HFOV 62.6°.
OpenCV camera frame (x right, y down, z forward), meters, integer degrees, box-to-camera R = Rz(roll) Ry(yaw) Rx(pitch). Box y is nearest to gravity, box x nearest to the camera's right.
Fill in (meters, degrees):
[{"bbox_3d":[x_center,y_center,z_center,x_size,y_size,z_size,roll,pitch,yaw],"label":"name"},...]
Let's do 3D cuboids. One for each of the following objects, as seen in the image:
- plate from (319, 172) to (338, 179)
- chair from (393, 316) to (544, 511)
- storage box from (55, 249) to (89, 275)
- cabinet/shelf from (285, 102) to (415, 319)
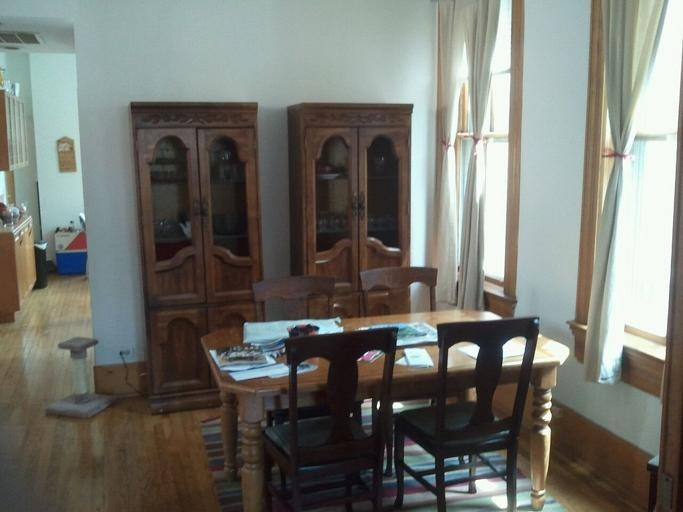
[{"bbox_3d":[-0.096,-0.658,4.624,0.169,0.052,0.024,-8,14,-31],"label":"plate"},{"bbox_3d":[0.683,0.896,3.137,0.770,1.251,0.509,1,12,5],"label":"chair"},{"bbox_3d":[-4.206,0.071,8.769,0.341,0.348,0.194,0,11,-11],"label":"storage box"},{"bbox_3d":[0.081,-0.195,5.016,1.012,2.322,0.629,-4,16,-13],"label":"cabinet/shelf"}]
